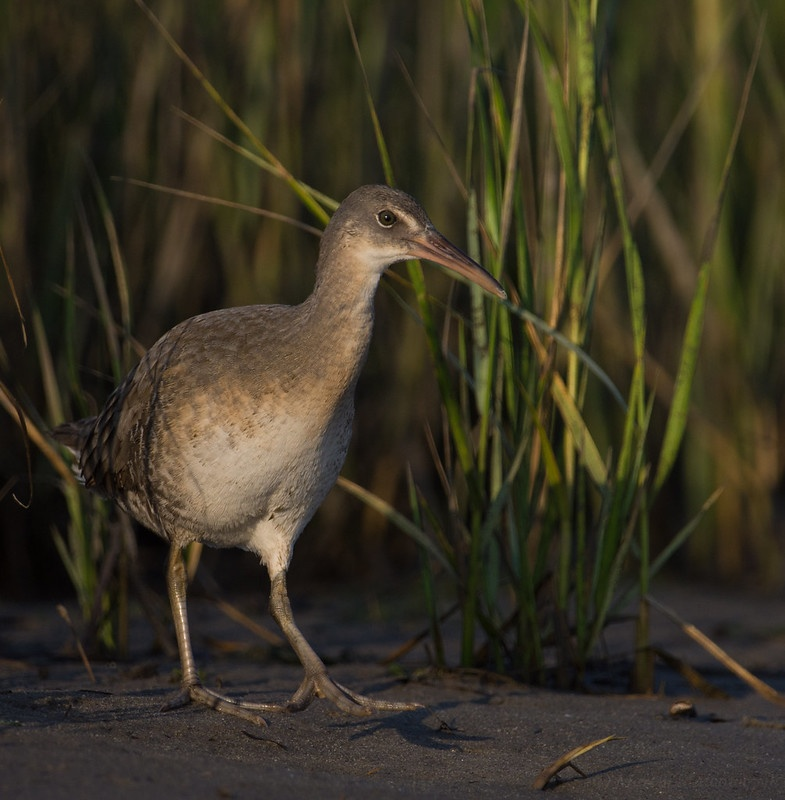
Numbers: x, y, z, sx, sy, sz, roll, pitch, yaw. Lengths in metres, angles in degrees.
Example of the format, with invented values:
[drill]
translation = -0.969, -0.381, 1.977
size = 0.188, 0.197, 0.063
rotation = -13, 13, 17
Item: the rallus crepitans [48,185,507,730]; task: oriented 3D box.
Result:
[rallus crepitans]
translation = -0.400, 0.102, 3.928
size = 1.157, 1.442, 0.604
rotation = 6, 11, 8
